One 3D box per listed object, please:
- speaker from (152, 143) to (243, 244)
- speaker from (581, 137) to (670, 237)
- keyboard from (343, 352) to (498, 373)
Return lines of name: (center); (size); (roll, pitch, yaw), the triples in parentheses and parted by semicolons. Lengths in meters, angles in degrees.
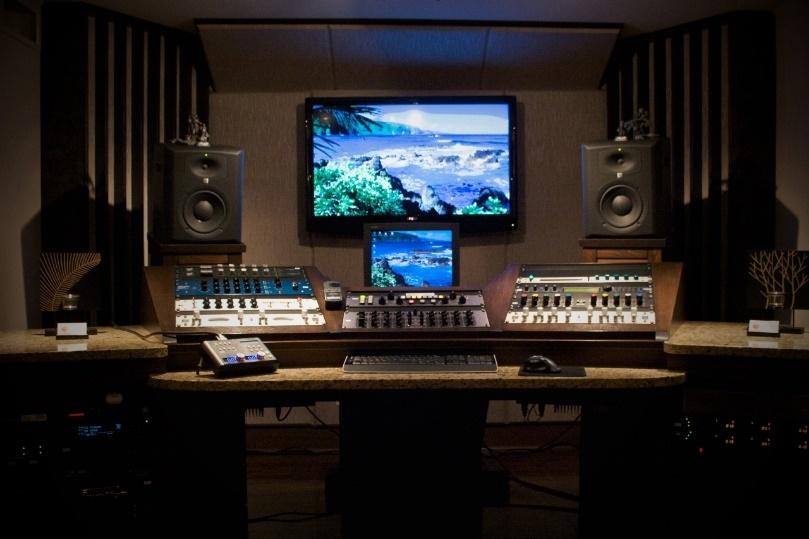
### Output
speaker: (-1.173, -0.441, 4.099); (0.475, 0.499, 0.602); (-4, 16, -26)
speaker: (1.199, -0.456, 4.012); (0.521, 0.530, 0.542); (1, 6, 45)
keyboard: (0.072, 0.448, 3.388); (0.728, 0.081, 0.156); (-2, 3, -1)
